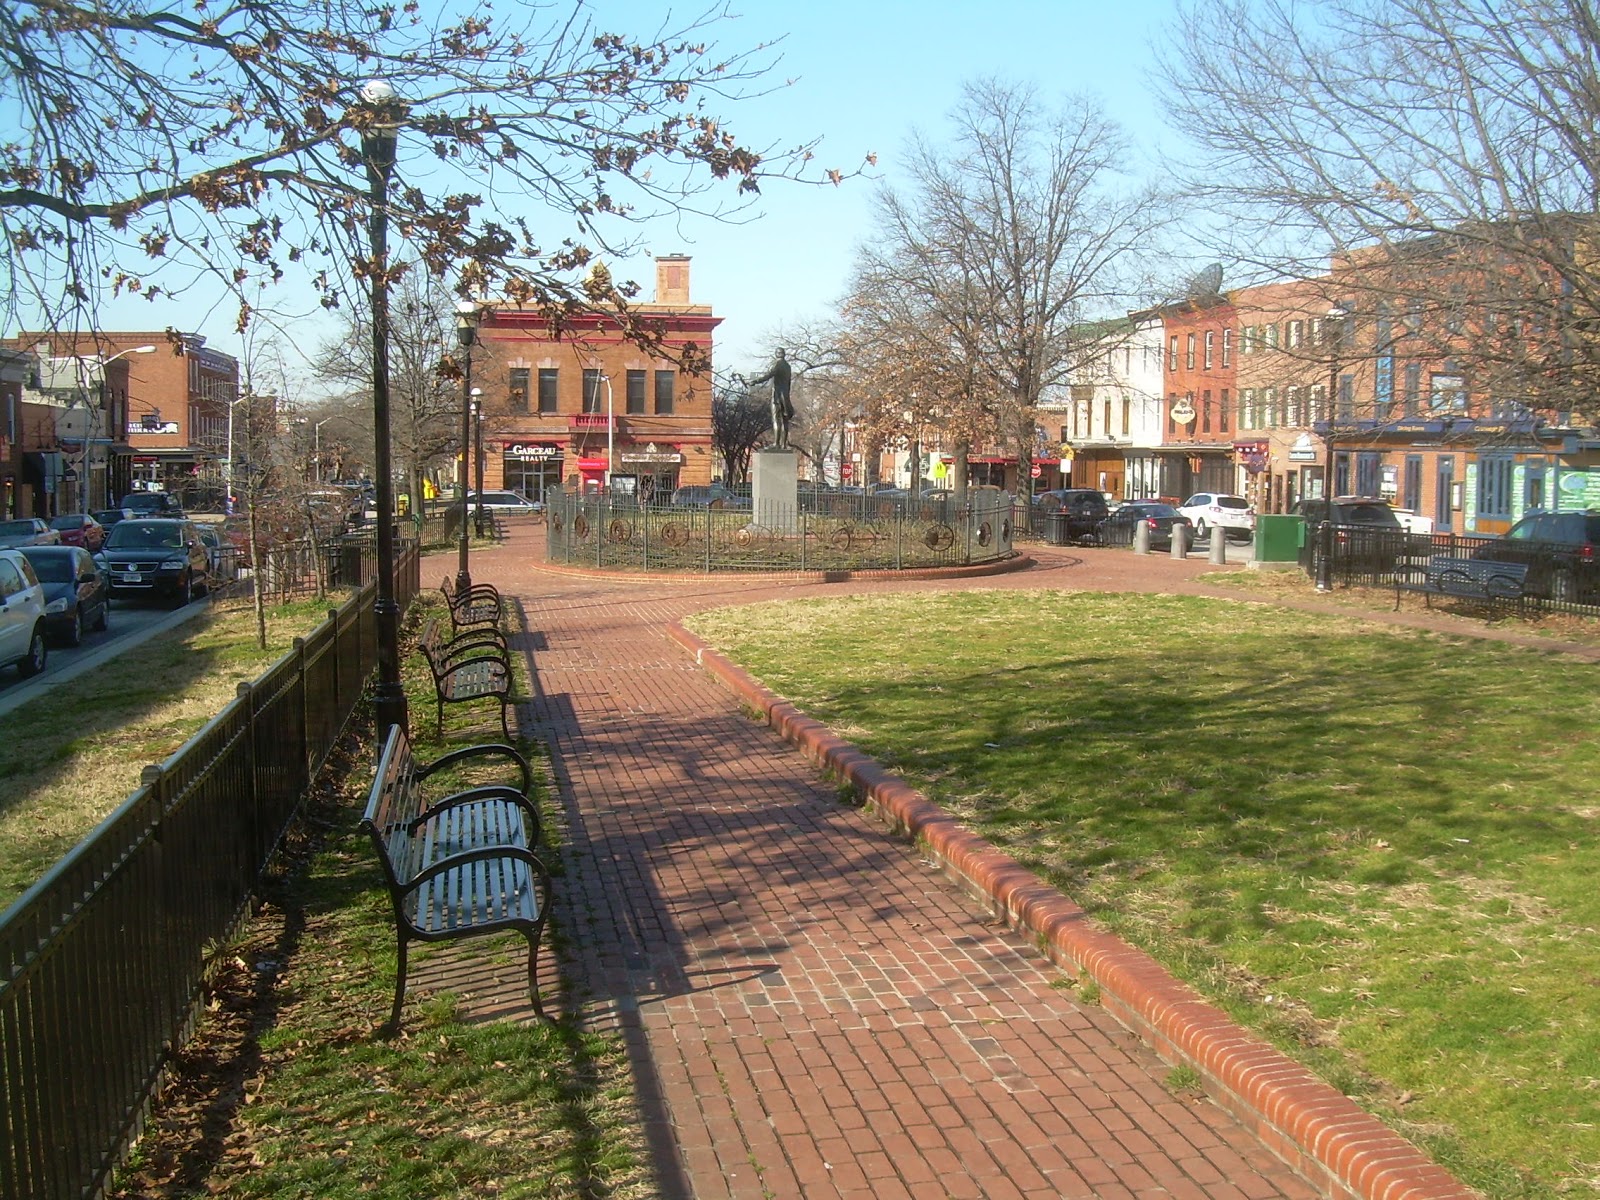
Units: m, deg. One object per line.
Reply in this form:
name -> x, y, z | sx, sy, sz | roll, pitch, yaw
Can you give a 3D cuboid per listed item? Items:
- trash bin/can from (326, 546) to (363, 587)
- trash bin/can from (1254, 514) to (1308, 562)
trash bin/can -> -9.395, -0.716, 28.098 | 0.788, 0.968, 0.773 | -3, 4, -43
trash bin/can -> 11.292, -1.474, 32.061 | 1.266, 1.392, 0.958 | 0, 4, -2
